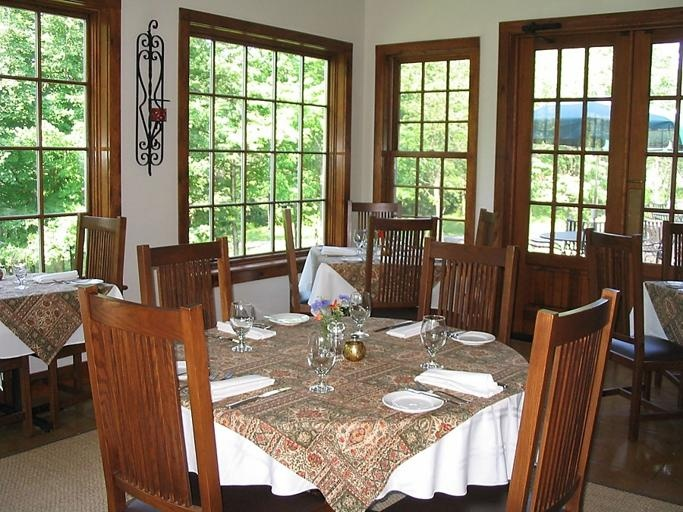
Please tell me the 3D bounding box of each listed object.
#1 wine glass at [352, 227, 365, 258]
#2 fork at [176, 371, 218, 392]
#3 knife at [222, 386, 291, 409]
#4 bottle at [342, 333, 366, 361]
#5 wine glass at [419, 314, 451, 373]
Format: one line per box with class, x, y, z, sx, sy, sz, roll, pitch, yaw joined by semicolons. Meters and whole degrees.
wine glass;0.154;-0.113;4.316;0.159;0.281;0.183;0;-1;-2
fork;-0.399;0.345;1.430;0.098;0.025;0.099;1;17;1
knife;-0.265;0.433;1.590;0.149;0.013;0.023;-7;30;-37
bottle;0.042;0.339;1.953;0.076;0.082;0.078;1;5;18
wine glass;0.331;0.311;1.883;0.103;0.171;0.102;-8;12;-29
